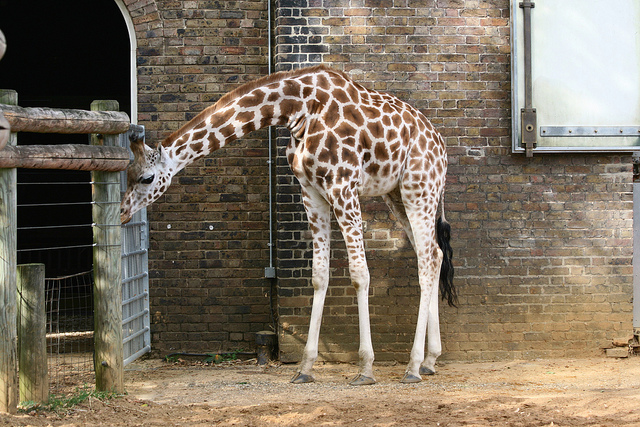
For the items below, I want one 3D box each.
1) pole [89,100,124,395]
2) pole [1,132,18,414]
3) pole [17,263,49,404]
[{"bbox_3d":[-2.570,0.857,15.467,0.372,2.329,0.153,0,0,-8],"label":"pole"},{"bbox_3d":[-3.606,0.912,14.769,0.202,2.394,0.074,0,0,-33],"label":"pole"},{"bbox_3d":[-3.431,1.466,15.152,0.411,1.644,0.359,3,-14,-28],"label":"pole"}]
